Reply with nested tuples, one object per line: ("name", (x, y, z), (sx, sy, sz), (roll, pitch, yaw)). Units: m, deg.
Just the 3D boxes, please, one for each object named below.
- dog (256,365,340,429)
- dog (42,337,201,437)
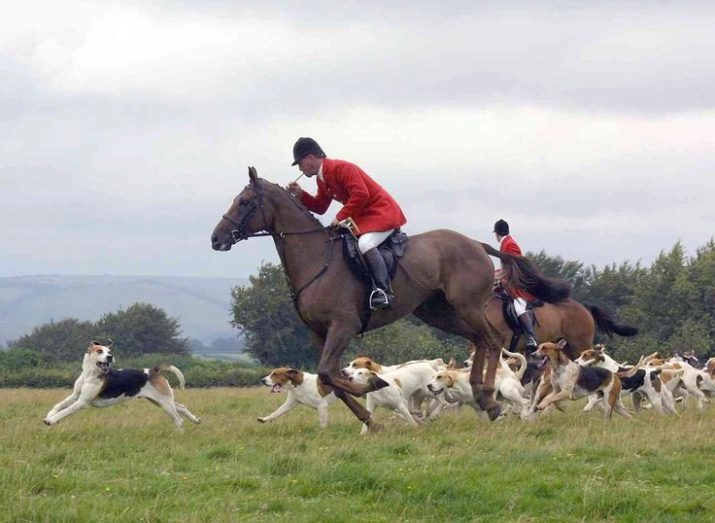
("dog", (-0.810, 3.078, 24.893), (0.864, 1.244, 3.442), (-7, -12, 37))
("dog", (-4.712, 2.791, 24.020), (4.154, 2.035, 1.397), (6, -23, -26))
